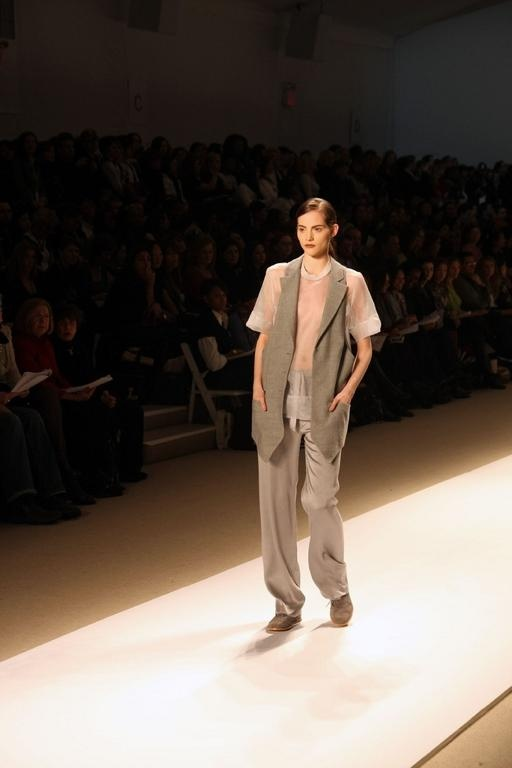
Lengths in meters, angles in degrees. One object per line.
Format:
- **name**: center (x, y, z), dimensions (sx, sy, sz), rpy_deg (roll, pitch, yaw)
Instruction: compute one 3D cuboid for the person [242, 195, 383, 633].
- **person**: center (0.164, 0.183, 1.700), dimensions (0.367, 1.023, 0.230), rpy_deg (-1, 0, -2)
